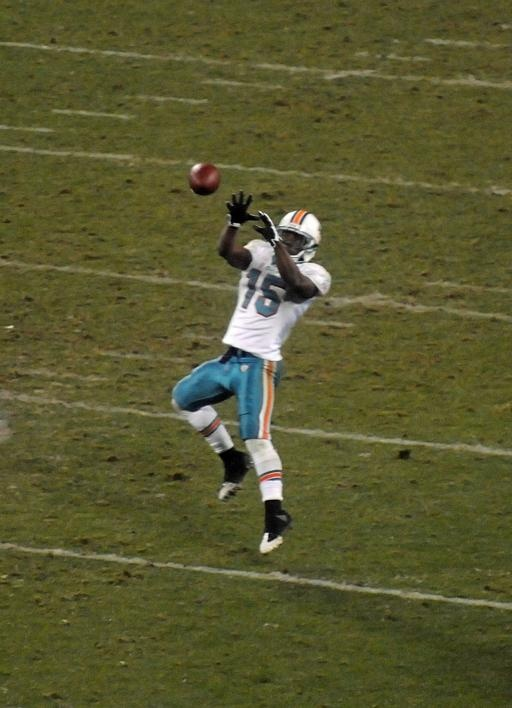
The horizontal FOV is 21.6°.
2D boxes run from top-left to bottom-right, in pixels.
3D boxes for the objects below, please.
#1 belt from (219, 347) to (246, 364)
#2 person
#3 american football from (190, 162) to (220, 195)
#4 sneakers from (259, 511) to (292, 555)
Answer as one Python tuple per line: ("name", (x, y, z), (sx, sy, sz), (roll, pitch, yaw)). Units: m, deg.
("belt", (-0.136, 0.005, 8.320), (0.180, 0.104, 0.081), (16, 30, 37))
("person", (-0.015, -0.010, 8.295), (0.946, 1.978, 1.330), (1, 25, 5))
("american football", (-0.323, -1.116, 8.587), (0.186, 0.226, 0.285), (-3, 23, -3))
("sneakers", (0.133, 1.067, 8.090), (0.200, 0.325, 0.259), (-2, 24, 0))
